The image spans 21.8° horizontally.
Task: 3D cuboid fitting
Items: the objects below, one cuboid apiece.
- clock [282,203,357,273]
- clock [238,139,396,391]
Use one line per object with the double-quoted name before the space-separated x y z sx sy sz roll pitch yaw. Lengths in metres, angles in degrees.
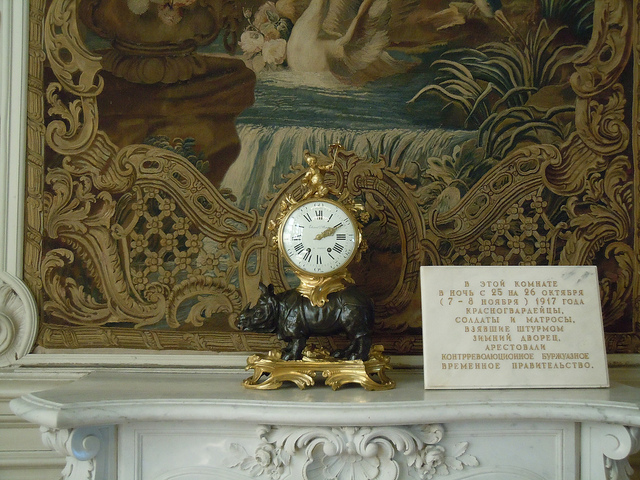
"clock" -0.006 -0.012 6.215 0.296 0.259 0.038 -1 -6 2
"clock" -0.036 0.129 6.225 0.555 0.817 0.449 -3 -33 1
